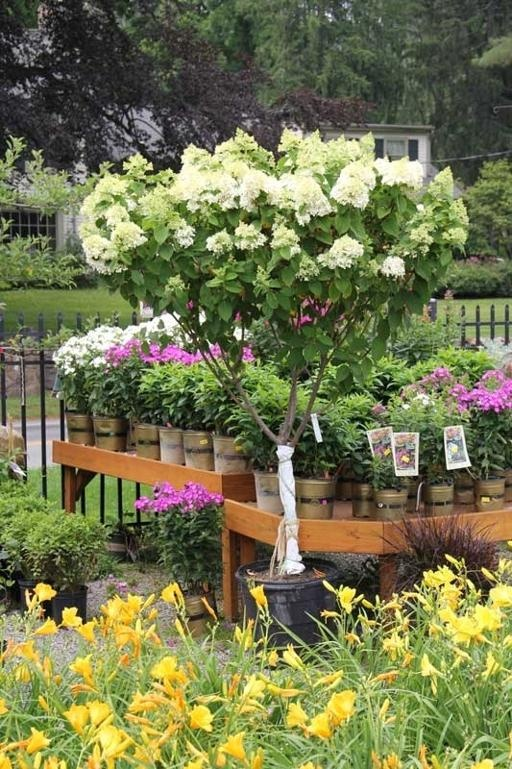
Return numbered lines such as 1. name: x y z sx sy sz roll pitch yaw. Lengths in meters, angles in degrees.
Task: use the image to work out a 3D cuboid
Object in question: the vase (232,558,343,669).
1. vase: 0.152 1.019 3.826 0.459 0.337 0.468 0 -6 -43
